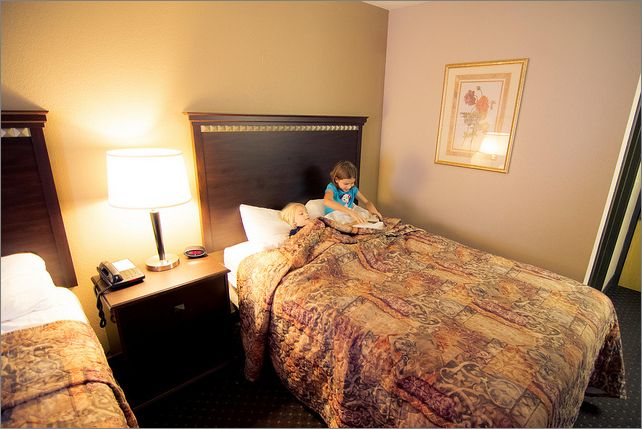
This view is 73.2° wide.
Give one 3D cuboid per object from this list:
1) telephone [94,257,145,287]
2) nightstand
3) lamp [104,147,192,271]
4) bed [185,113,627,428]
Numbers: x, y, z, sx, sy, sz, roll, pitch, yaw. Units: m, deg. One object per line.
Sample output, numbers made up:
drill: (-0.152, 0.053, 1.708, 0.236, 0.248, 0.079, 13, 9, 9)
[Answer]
telephone: (-1.448, 0.423, 3.125, 0.227, 0.080, 0.220, -12, 35, -35)
nightstand: (-1.235, 0.862, 3.394, 0.878, 0.843, 0.612, -16, 18, -36)
lamp: (-1.297, -0.025, 3.362, 0.606, 0.939, 0.593, -10, 21, -24)
bed: (0.383, 0.443, 3.688, 2.208, 2.018, 3.062, -20, 31, -35)
